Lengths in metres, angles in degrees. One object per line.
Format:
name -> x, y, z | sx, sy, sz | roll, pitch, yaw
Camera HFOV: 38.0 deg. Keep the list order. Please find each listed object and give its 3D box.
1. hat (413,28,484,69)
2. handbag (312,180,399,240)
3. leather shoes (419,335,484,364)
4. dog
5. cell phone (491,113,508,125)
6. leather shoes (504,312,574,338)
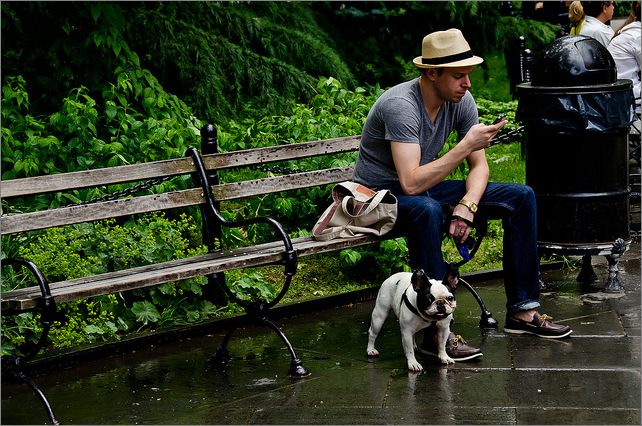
hat -> 1.044, -1.349, 7.652 | 0.409, 0.167, 0.371 | -2, 12, 29
handbag -> 0.248, -0.021, 7.874 | 0.778, 0.349, 0.581 | -12, 30, -17
leather shoes -> 1.068, 1.065, 7.536 | 0.478, 0.185, 0.206 | 2, 4, 19
dog -> 0.795, 0.824, 7.621 | 0.516, 0.843, 1.189 | -1, 2, -17
cell phone -> 1.494, -0.756, 7.682 | 0.116, 0.032, 0.120 | -26, -1, 30
leather shoes -> 1.895, 0.939, 7.948 | 0.589, 0.211, 0.215 | 2, 4, 16
